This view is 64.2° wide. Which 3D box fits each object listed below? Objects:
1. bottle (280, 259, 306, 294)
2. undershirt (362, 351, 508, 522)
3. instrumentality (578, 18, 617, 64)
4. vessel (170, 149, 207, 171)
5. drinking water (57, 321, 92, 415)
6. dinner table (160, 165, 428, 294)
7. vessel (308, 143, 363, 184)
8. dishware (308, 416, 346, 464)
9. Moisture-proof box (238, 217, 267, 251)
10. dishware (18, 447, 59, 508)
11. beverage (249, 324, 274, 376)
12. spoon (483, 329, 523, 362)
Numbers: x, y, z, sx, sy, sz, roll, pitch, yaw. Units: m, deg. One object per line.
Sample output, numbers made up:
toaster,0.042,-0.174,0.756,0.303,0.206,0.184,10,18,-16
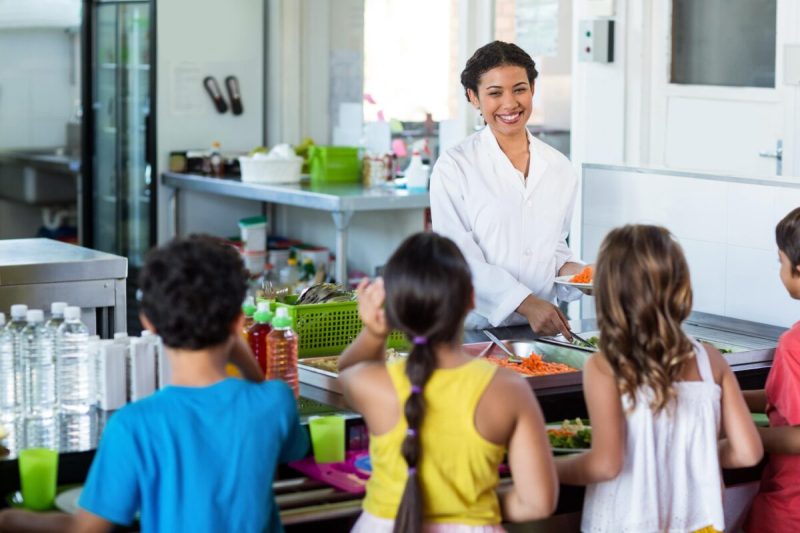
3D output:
bottle,-0.898,0.108,5.266,0.252,0.314,0.249,1,-1,0
undershirt,0.071,0.349,1.304,0.345,0.429,0.218,2,-5,-1
instrumentality,1.284,-1.463,4.156,0.110,0.287,0.290,-7,9,-29
vessel,-1.750,-0.898,5.222,0.255,0.125,0.187,1,13,0
drinking water,-0.944,0.281,1.844,0.106,0.297,0.104,0,-10,-25
dinner table,-1.240,-0.204,5.120,0.785,0.848,1.736,2,9,-39
vessel,-0.511,-0.871,5.030,0.412,0.282,0.301,-2,14,-16
dishware,-0.184,0.465,1.660,0.100,0.115,0.105,-13,-32,12
Moisture-proof box,-1.209,-0.260,5.297,0.261,0.330,0.256,-1,-2,-24
dishware,-0.824,0.483,1.463,0.084,0.126,0.078,0,-4,-21
beverage,-0.408,0.229,1.869,0.069,0.184,0.072,4,4,23
spoon,0.366,0.289,2.282,0.047,0.153,0.026,-26,-22,-29
